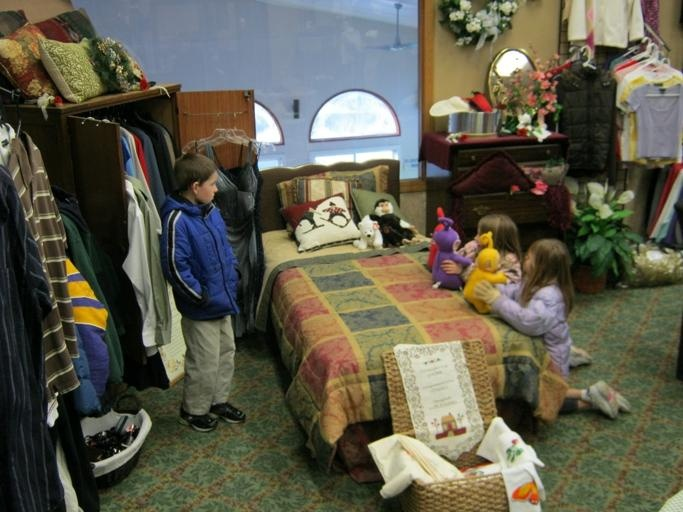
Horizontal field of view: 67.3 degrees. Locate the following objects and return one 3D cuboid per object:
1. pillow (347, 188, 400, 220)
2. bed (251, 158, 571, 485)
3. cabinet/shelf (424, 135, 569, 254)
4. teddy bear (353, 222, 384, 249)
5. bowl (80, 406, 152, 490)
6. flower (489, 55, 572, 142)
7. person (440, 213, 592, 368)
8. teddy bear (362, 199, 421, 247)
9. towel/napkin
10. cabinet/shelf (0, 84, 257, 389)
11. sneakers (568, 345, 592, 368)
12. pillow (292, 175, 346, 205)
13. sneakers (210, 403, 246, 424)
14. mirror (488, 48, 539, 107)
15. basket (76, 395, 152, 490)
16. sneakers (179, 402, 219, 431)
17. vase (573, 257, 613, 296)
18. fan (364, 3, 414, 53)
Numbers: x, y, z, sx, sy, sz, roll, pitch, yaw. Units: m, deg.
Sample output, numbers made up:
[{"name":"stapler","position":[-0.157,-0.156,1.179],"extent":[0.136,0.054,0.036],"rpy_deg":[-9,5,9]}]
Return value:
[{"name":"pillow","position":[0.332,-0.470,4.844],"extent":[0.493,0.149,0.515],"rpy_deg":[7,38,-5]},{"name":"bed","position":[0.201,0.186,4.017],"extent":[1.616,1.180,2.691],"rpy_deg":[-8,24,-15]},{"name":"cabinet/shelf","position":[1.622,-0.485,5.324],"extent":[1.295,1.315,1.099],"rpy_deg":[-4,6,-3]},{"name":"teddy bear","position":[0.217,-0.200,4.513],"extent":[0.262,0.271,0.220],"rpy_deg":[-1,6,-9]},{"name":"bowl","position":[-1.321,1.090,3.006],"extent":[0.334,0.299,0.441],"rpy_deg":[13,25,19]},{"name":"flower","position":[1.845,-1.626,5.120],"extent":[0.716,0.895,0.775],"rpy_deg":[2,19,24]},{"name":"person","position":[1.020,0.093,3.862],"extent":[0.862,0.654,1.330],"rpy_deg":[-17,28,-27]},{"name":"teddy bear","position":[0.429,-0.269,4.639],"extent":[0.415,0.189,0.419],"rpy_deg":[-18,58,-10]},{"name":"towel/napkin","position":[0.331,1.046,2.589],"extent":[0.359,0.112,0.353],"rpy_deg":[-8,20,-29]},{"name":"cabinet/shelf","position":[-1.282,-0.204,3.901],"extent":[0.873,2.099,2.006],"rpy_deg":[-2,18,14]},{"name":"sneakers","position":[1.773,0.768,3.847],"extent":[0.149,0.105,0.260],"rpy_deg":[1,12,6]},{"name":"pillow","position":[-0.194,-0.620,4.882],"extent":[0.400,0.249,0.124],"rpy_deg":[-3,-18,-12]},{"name":"sneakers","position":[-0.739,1.044,3.426],"extent":[0.272,0.121,0.101],"rpy_deg":[9,19,12]},{"name":"mirror","position":[1.714,-1.808,5.170],"extent":[0.665,0.823,0.104],"rpy_deg":[-5,8,-13]},{"name":"basket","position":[-1.301,1.078,3.037],"extent":[0.346,0.289,0.446],"rpy_deg":[8,8,25]},{"name":"sneakers","position":[-0.912,1.071,3.358],"extent":[0.270,0.132,0.115],"rpy_deg":[12,22,20]},{"name":"vase","position":[2.411,0.189,4.940],"extent":[0.297,0.298,0.300],"rpy_deg":[7,14,33]},{"name":"fan","position":[0.429,-2.278,5.108],"extent":[0.411,0.450,0.405],"rpy_deg":[11,23,28]}]
